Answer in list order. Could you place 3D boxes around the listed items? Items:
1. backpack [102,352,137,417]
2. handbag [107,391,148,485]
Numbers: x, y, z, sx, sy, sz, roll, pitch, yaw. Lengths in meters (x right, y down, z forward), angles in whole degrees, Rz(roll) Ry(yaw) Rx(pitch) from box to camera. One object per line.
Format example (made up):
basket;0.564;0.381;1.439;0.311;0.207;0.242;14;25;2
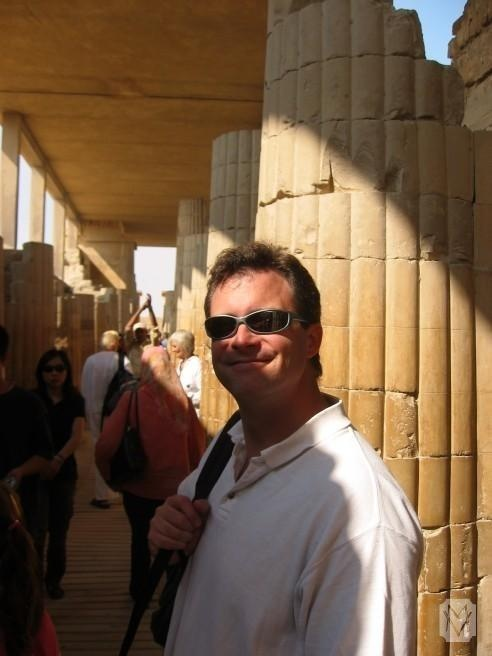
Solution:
backpack;-0.901;0.398;5.163;0.132;0.181;0.487;27;7;-15
handbag;-0.602;0.588;3.777;0.107;0.392;0.293;12;-42;-19
